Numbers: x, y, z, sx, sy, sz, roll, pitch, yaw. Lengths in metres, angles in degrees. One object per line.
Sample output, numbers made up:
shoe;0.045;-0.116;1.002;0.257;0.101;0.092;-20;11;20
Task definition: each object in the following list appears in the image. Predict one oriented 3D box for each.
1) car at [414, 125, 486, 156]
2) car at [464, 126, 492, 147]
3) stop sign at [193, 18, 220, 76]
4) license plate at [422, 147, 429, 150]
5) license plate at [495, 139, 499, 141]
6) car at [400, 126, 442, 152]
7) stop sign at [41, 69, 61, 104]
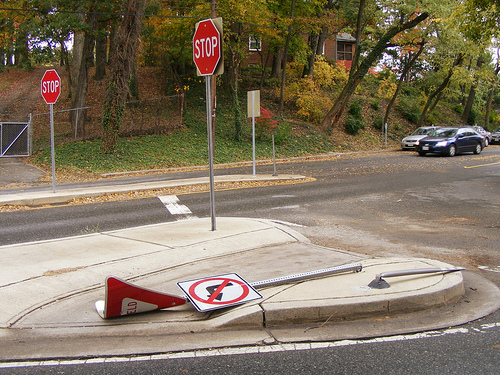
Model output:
car;11.424;-2.628;43.504;3.859;1.165;1.745;-2;3;-40
car;15.541;-3.533;52.336;3.035;1.029;1.340;-1;8;9
stop sign;-1.310;-4.228;22.901;1.176;1.666;0.080;1;4;43
license plate;9.772;-2.166;42.402;0.053;0.219;0.431;-9;20;-36
license plate;18.251;-3.526;56.269;0.129;0.174;0.292;-6;19;-31
car;11.283;-2.984;48.662;2.537;1.906;5.996;5;4;25
stop sign;-7.368;-3.707;28.124;0.613;1.344;0.742;-1;18;-16
